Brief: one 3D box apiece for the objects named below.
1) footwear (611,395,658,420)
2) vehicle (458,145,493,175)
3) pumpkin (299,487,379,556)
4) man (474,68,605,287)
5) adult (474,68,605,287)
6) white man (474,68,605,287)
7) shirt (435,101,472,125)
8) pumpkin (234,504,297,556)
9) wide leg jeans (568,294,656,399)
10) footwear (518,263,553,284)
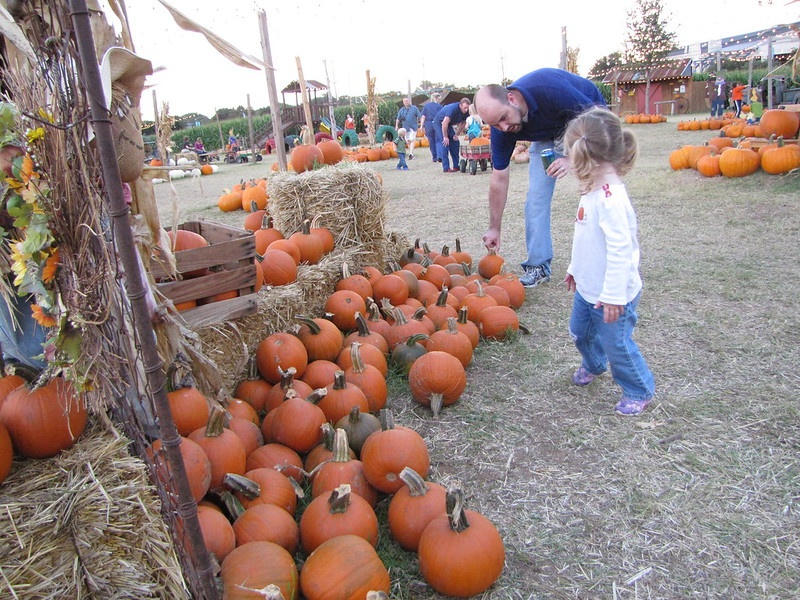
[{"bbox_3d":[1.360,0.621,3.236,0.177,0.079,0.097,-1,6,-11],"label":"footwear"},{"bbox_3d":[1.700,-3.060,12.059,0.564,0.594,0.790,-9,19,-18],"label":"vehicle"},{"bbox_3d":[-0.256,0.927,2.516,0.293,0.323,0.301,5,23,7],"label":"pumpkin"},{"bbox_3d":[1.215,-1.010,4.771,0.987,1.802,1.140,4,17,34],"label":"man"},{"bbox_3d":[1.155,-1.025,4.753,1.098,1.778,1.070,-8,15,-4],"label":"adult"},{"bbox_3d":[1.189,-1.005,4.665,1.154,1.783,1.024,-14,16,-28],"label":"white man"},{"bbox_3d":[1.108,-4.084,12.210,0.778,0.323,0.760,-36,25,-26],"label":"shirt"},{"bbox_3d":[-0.574,0.976,2.423,0.199,0.206,0.212,3,8,14],"label":"pumpkin"},{"bbox_3d":[1.251,0.302,3.359,0.185,0.543,0.409,-33,35,-12],"label":"wide leg jeans"},{"bbox_3d":[1.234,-0.238,5.171,0.371,0.184,0.133,-14,15,-41],"label":"footwear"}]
